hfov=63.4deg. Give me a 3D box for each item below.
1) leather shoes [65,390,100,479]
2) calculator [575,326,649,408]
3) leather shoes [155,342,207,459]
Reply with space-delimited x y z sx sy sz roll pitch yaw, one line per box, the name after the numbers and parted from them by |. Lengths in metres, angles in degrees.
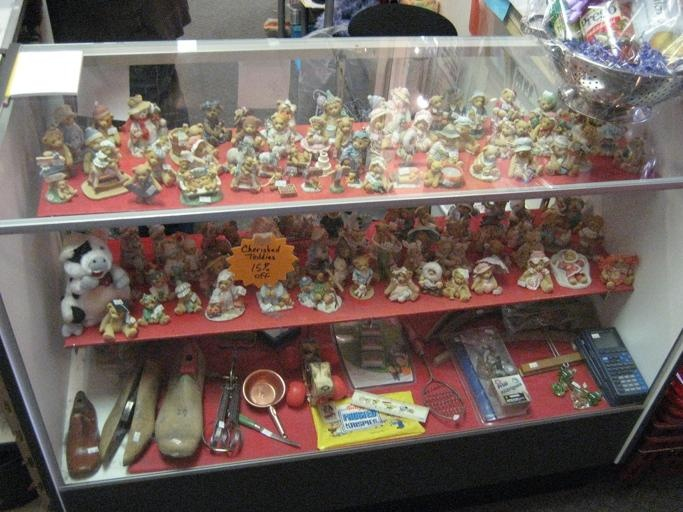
-1.102 0.750 2.357 0.124 0.109 0.332 -2 62 -33 | leather shoes
1.324 0.530 2.723 0.214 0.121 0.345 -16 57 -4 | calculator
-0.702 0.627 2.431 0.169 0.166 0.462 10 41 -21 | leather shoes
